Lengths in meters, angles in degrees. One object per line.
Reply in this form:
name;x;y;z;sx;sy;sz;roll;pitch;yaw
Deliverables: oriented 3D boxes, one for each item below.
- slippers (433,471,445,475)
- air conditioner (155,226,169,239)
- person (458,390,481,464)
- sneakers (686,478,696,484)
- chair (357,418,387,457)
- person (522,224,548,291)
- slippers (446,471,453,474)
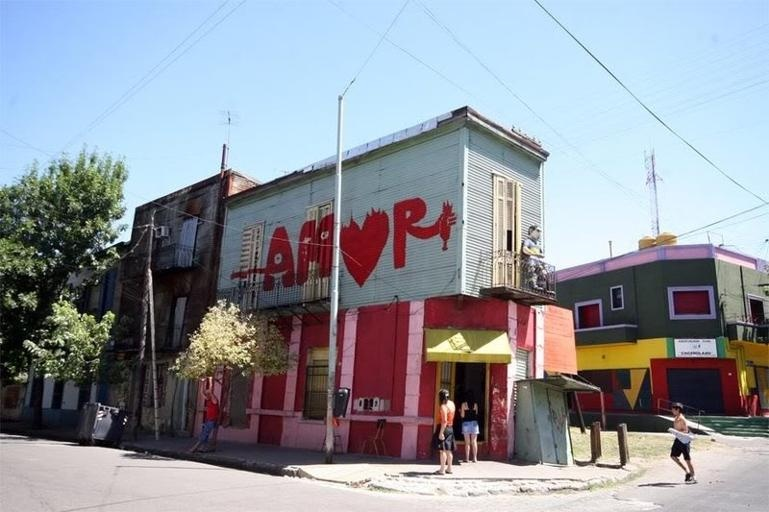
slippers;1.722;6.820;16.645;0.350;0.144;0.620;1;-19;2
air conditioner;-12.713;-1.370;30.482;0.516;0.628;0.820;7;4;-19
person;3.123;6.200;19.233;0.556;2.404;1.438;-1;-19;9
sneakers;9.427;6.932;16.260;0.363;0.163;0.132;1;-15;-1
chair;-0.330;6.878;20.105;0.719;1.169;0.653;12;-19;-11
person;5.989;-0.036;21.217;1.343;3.021;0.455;12;-21;-27
slippers;2.061;6.820;16.695;0.212;0.102;0.377;-1;-19;7
